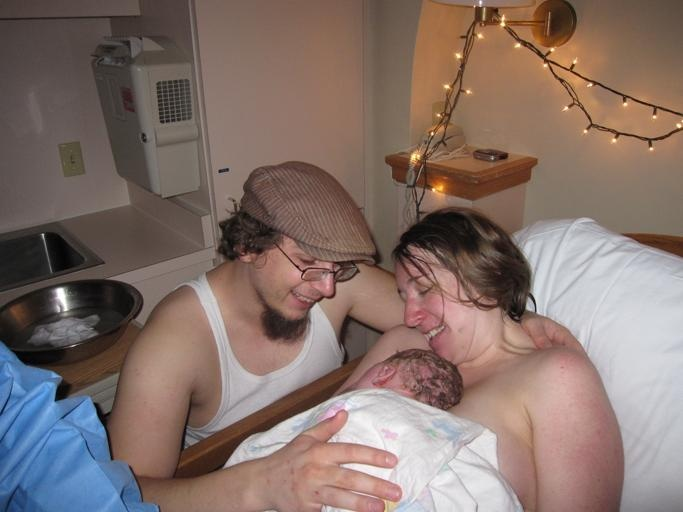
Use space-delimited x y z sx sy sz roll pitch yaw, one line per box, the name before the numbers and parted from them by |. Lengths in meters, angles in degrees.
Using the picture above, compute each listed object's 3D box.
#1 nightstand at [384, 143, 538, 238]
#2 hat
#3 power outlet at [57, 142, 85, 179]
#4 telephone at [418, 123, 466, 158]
nightstand | 0.613 -0.432 2.679 0.637 0.687 0.456 20 37 39
hat | -0.110 -0.129 1.605 0.440 0.268 0.271 16 30 25
power outlet | -1.509 -0.539 2.832 0.025 0.209 0.138 17 31 42
telephone | 0.548 -0.611 2.773 0.274 0.151 0.158 -38 41 -28
